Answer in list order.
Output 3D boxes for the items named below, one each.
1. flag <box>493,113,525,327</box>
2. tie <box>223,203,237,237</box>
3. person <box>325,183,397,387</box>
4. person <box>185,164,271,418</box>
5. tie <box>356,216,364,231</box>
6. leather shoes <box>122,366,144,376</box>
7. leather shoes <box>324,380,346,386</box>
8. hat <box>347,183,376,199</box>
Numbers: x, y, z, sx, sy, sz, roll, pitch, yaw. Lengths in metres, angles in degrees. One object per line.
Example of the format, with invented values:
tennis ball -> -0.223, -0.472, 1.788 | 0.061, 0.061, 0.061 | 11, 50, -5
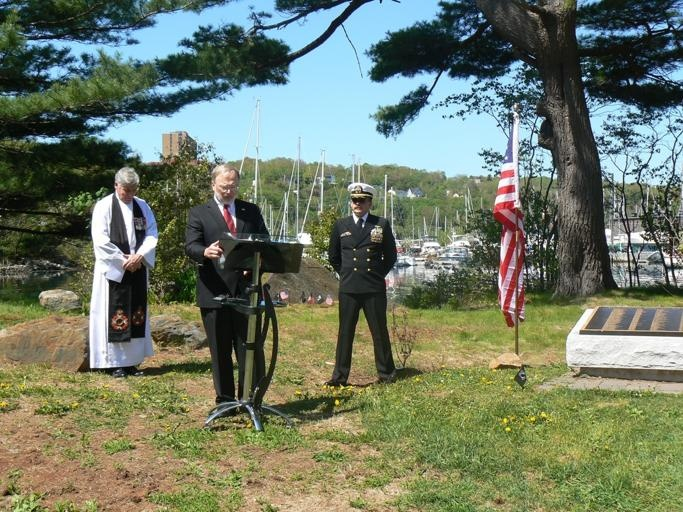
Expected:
flag -> 2.575, -0.541, 12.665 | 0.461, 3.303, 0.746 | 2, 14, 10
tie -> -1.397, -0.475, 10.368 | 0.123, 0.320, 0.255 | -7, 16, -25
person -> 0.304, 0.488, 12.089 | 1.006, 3.064, 1.066 | 1, 14, 4
person -> -1.483, 0.367, 10.466 | 0.910, 3.006, 0.710 | -3, 14, -12
tie -> 0.277, -0.479, 12.132 | 0.057, 0.246, 0.054 | -1, -21, 14
leather shoes -> -3.045, 1.686, 12.095 | 0.133, 0.108, 0.224 | 6, -11, -43
leather shoes -> -0.094, 1.850, 12.011 | 0.282, 0.142, 0.109 | -1, 1, 9
hat -> 0.298, -0.961, 12.033 | 0.403, 0.248, 0.395 | 0, 16, 1
